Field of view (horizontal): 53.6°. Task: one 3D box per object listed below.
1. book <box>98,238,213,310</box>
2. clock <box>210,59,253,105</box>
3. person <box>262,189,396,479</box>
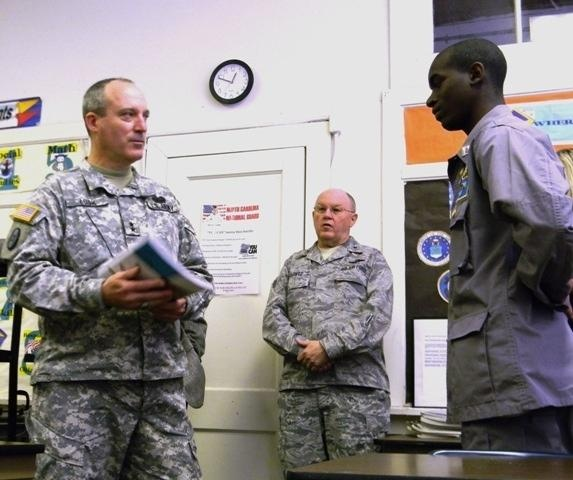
[{"bbox_3d":[-0.411,0.087,1.703,0.290,0.179,0.242,-5,-3,37],"label":"book"},{"bbox_3d":[-0.366,-1.096,3.950,0.324,0.316,0.064,-3,-6,20],"label":"clock"},{"bbox_3d":[0.233,0.420,3.111,0.711,1.455,0.588,-4,-3,10],"label":"person"}]
